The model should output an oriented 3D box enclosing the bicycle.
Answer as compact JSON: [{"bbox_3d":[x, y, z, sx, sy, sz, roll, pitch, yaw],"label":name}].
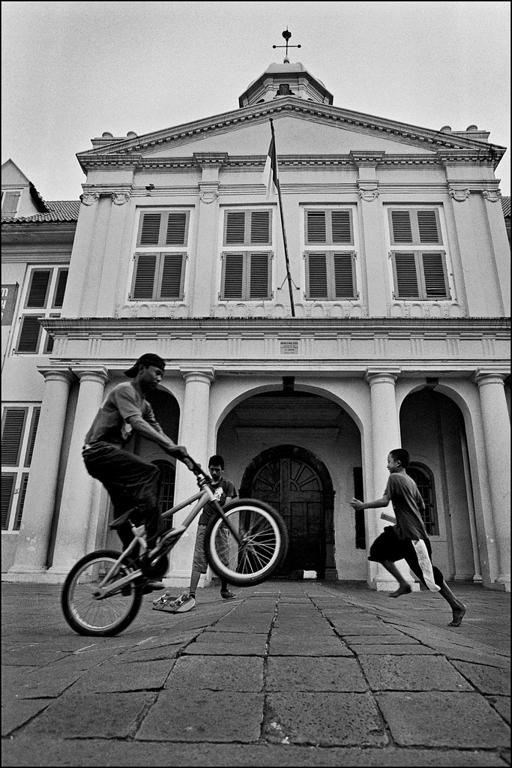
[{"bbox_3d":[-0.636,1.250,3.881,1.725,1.273,0.736,0,-18,3],"label":"bicycle"}]
